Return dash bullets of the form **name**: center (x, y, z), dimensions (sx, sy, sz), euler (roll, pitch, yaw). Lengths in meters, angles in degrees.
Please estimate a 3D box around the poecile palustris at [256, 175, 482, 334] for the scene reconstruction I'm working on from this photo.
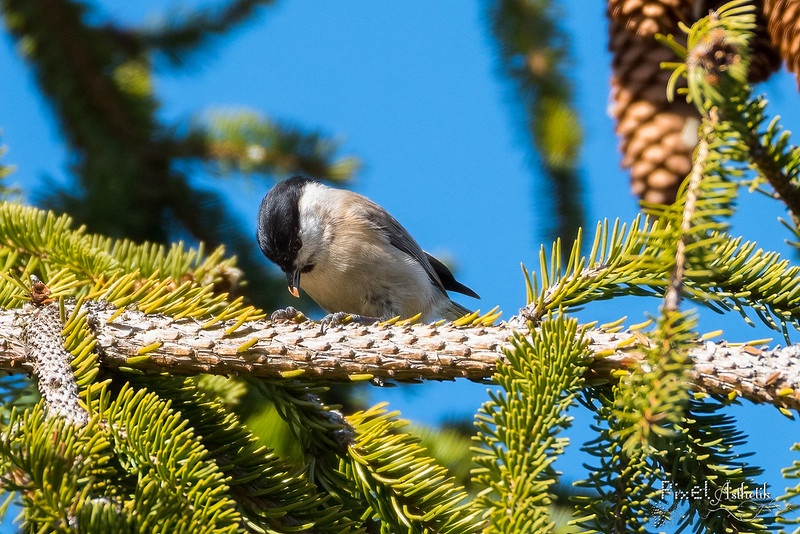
- **poecile palustris**: center (-0.101, -0.004, 6.511), dimensions (1.675, 0.724, 0.546), euler (9, -21, -36)
